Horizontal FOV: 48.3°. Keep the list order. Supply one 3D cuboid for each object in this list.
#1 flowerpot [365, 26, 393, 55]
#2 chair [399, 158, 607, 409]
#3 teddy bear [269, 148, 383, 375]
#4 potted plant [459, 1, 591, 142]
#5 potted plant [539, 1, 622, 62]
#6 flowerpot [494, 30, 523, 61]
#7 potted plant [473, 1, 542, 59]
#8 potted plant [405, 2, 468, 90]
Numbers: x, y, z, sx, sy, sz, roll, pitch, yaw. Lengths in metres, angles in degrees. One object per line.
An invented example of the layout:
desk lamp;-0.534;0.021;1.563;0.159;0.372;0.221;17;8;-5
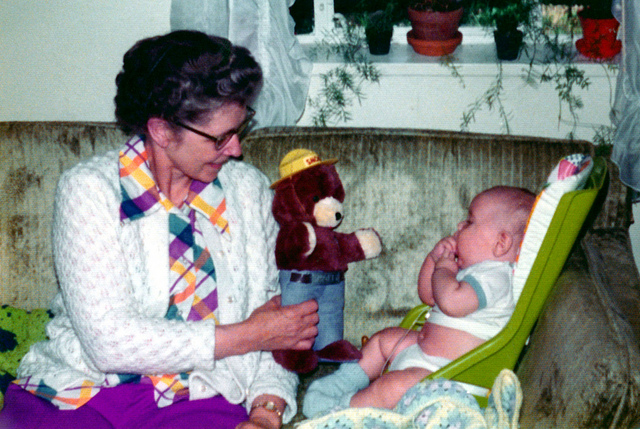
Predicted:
flowerpot;0.308;-0.910;3.704;0.134;0.112;0.131;2;18;3
chair;0.688;0.342;3.297;0.830;1.242;0.732;7;-5;5
teddy bear;0.019;0.199;3.127;0.455;0.954;0.380;0;1;-31
potted plant;1.070;-0.718;3.636;0.664;0.873;0.363;-5;2;-7
potted plant;1.336;-0.979;3.762;0.387;0.409;0.254;-6;17;6
flowerpot;0.977;-0.887;3.684;0.153;0.155;0.177;1;13;14
potted plant;0.965;-0.953;3.691;0.350;0.283;0.208;1;11;15
potted plant;0.597;-0.915;3.778;0.376;0.289;0.399;6;28;16
